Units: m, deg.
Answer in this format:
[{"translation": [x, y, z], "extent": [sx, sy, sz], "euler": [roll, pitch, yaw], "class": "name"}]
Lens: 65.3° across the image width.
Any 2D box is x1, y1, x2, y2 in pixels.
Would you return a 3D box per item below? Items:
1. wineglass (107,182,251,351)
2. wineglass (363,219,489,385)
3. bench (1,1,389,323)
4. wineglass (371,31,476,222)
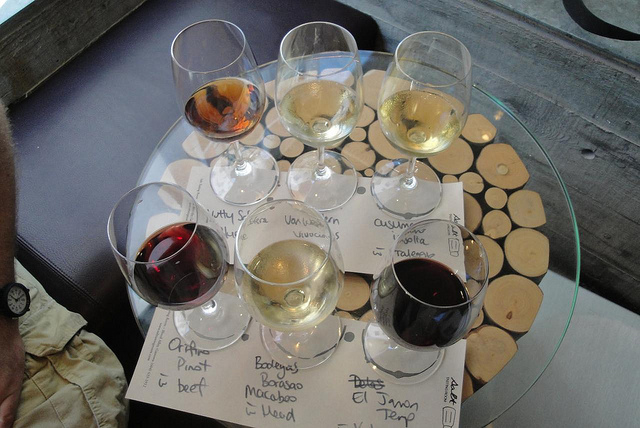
[{"translation": [-0.353, 0.163, 1.312], "extent": [0.246, 0.531, 0.260], "euler": [11, 56, 12], "class": "wineglass"}, {"translation": [0.234, 0.232, 1.201], "extent": [0.228, 0.366, 0.229], "euler": [31, 53, 22], "class": "wineglass"}, {"translation": [-0.398, -0.125, 1.450], "extent": [0.803, 0.199, 0.846], "euler": [-10, 63, -6], "class": "bench"}, {"translation": [0.272, -0.264, 1.333], "extent": [0.226, 0.328, 0.481], "euler": [18, 60, 14], "class": "wineglass"}]
